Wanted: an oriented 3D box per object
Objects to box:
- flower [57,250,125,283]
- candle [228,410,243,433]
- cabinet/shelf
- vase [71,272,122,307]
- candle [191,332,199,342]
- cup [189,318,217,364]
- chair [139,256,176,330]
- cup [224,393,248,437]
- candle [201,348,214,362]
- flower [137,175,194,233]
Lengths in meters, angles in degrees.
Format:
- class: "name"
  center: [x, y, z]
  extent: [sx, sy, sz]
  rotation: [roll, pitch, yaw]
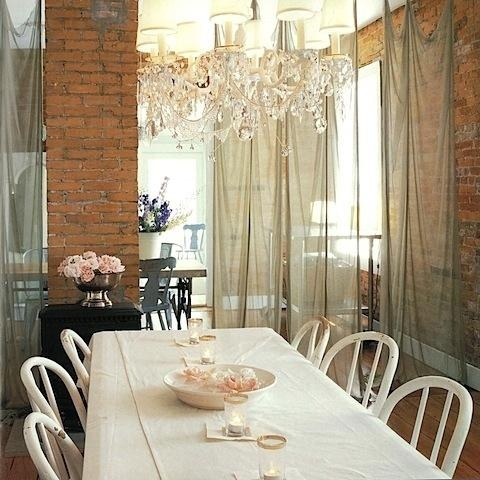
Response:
- class: "flower"
  center: [-0.939, 0.171, 2.927]
  extent: [0.411, 0.182, 0.176]
  rotation: [0, 1, 6]
- class: "candle"
  center: [-0.011, 0.435, 1.144]
  extent: [0.037, 0.054, 0.043]
  rotation: [1, -5, -1]
- class: "cabinet/shelf"
  center: [-0.941, 0.888, 3.132]
  extent: [0.743, 1.082, 0.576]
  rotation: [0, 0, -5]
- class: "vase"
  center: [-0.872, 0.305, 2.931]
  extent: [0.198, 0.169, 0.230]
  rotation: [0, -7, -3]
- class: "candle"
  center: [-0.199, 0.429, 2.093]
  extent: [0.031, 0.037, 0.032]
  rotation: [-1, -5, 41]
- class: "cup"
  center: [-0.152, 0.404, 1.893]
  extent: [0.060, 0.113, 0.250]
  rotation: [0, -3, -7]
- class: "chair"
  center: [-0.843, 0.587, 4.821]
  extent: [0.337, 0.871, 1.616]
  rotation: [0, 1, -10]
- class: "cup"
  center: [-0.011, 0.424, 1.150]
  extent: [0.051, 0.104, 0.074]
  rotation: [0, 1, 1]
- class: "candle"
  center: [-0.118, 0.427, 1.753]
  extent: [0.039, 0.059, 0.047]
  rotation: [1, -3, 4]
- class: "flower"
  center: [-0.689, -0.323, 4.349]
  extent: [0.462, 0.531, 0.533]
  rotation: [0, 1, -12]
